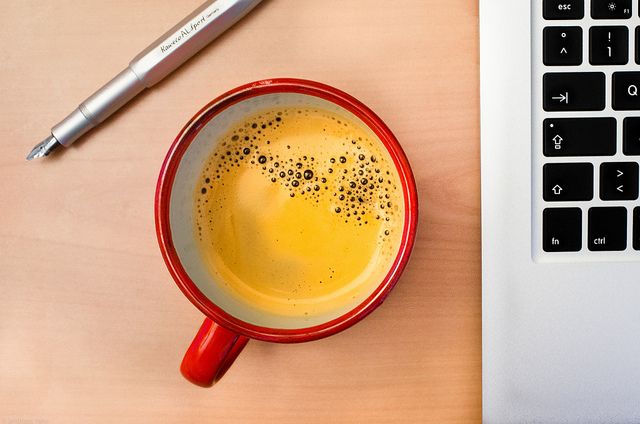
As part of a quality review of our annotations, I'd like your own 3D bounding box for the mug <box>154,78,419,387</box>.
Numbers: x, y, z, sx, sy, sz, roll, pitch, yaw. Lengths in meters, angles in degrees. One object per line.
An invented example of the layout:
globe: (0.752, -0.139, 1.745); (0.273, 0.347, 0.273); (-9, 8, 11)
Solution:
mug: (-0.058, 0.000, 0.767); (0.352, 0.148, 0.299); (-22, -70, 8)
